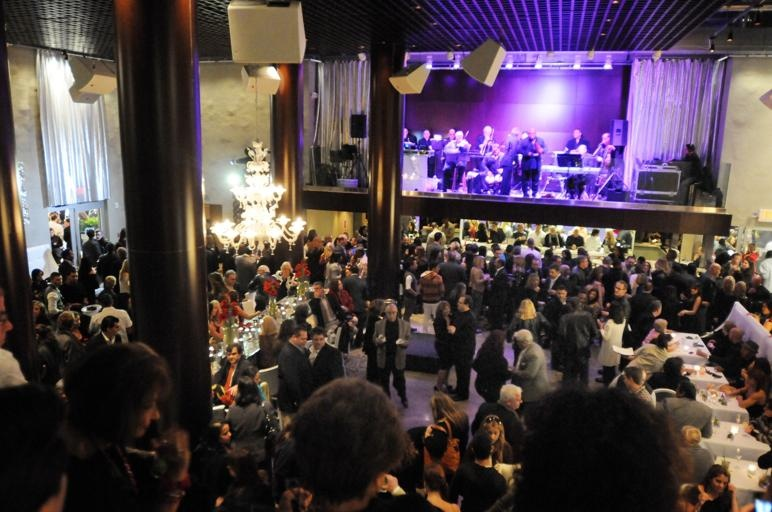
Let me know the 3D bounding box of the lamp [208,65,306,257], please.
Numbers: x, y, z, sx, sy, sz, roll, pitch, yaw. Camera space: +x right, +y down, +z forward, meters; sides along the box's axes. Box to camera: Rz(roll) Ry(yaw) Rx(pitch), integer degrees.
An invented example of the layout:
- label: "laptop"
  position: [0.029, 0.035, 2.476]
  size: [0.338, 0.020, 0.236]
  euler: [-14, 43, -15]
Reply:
- label: "lamp"
  position: [-1.904, -1.487, 9.166]
  size: [1.000, 1.912, 0.963]
  euler: [-5, 12, -37]

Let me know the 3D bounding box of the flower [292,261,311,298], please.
- label: "flower"
  position: [-1.232, 0.396, 9.071]
  size: [0.252, 0.549, 0.259]
  euler: [-2, 3, 13]

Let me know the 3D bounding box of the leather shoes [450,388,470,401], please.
- label: "leather shoes"
  position: [1.012, 1.863, 8.444]
  size: [0.279, 0.192, 0.115]
  euler: [4, 7, 8]

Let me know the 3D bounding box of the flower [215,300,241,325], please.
- label: "flower"
  position: [-1.874, 0.653, 7.294]
  size: [0.244, 0.241, 0.237]
  euler: [0, 3, 33]

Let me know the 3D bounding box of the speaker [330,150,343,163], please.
- label: "speaker"
  position: [-1.186, -2.396, 14.786]
  size: [0.306, 0.281, 0.299]
  euler: [1, 2, -8]

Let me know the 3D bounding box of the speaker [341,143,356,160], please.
- label: "speaker"
  position: [-0.880, -2.486, 14.789]
  size: [0.378, 0.356, 0.370]
  euler: [1, 3, 2]
